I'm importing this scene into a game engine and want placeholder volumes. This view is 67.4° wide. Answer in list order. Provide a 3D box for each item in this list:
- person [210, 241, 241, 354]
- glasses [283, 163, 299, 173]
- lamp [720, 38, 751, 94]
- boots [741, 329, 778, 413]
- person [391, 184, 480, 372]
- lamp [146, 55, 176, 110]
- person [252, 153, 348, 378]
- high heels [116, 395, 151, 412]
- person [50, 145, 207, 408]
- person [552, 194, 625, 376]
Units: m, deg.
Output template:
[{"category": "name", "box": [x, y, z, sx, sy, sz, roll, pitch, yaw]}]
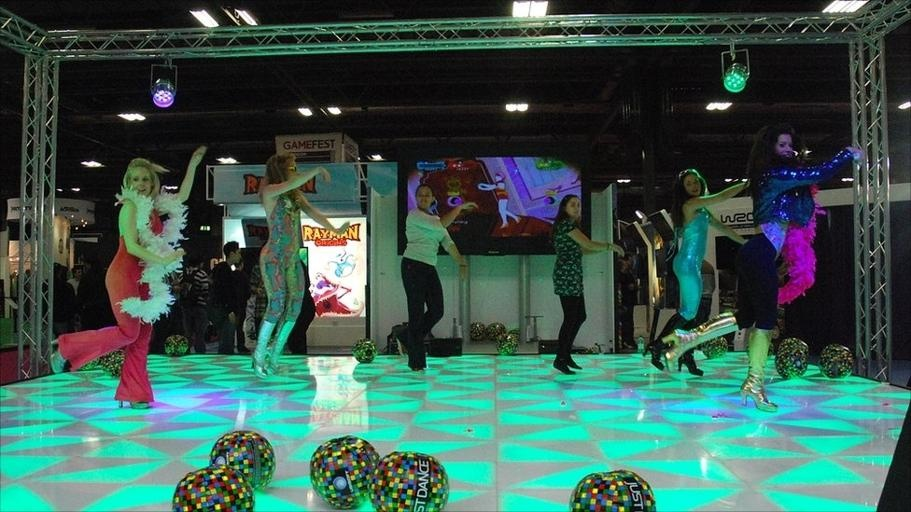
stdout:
[{"category": "person", "box": [-3.767, 0.677, 11.167, 0.446, 1.844, 1.073, 0, -3, -18]}, {"category": "glasses", "box": [-2.121, -1.107, 8.697, 0.152, 0.073, 0.152, 2, 5, 33]}, {"category": "lamp", "box": [4.174, -2.809, 10.107, 0.359, 0.859, 1.159, -2, -3, 23]}, {"category": "boots", "box": [3.318, 1.221, 7.422, 0.326, 0.845, 0.436, -2, -3, 23]}, {"category": "person", "box": [-0.309, 0.286, 8.900, 0.734, 2.414, 0.715, 1, -4, -31]}, {"category": "lamp", "box": [-4.298, -2.547, 10.027, 0.302, 0.679, 0.495, 0, -3, -18]}, {"category": "person", "box": [-2.096, 0.090, 8.587, 0.868, 2.810, 0.763, 0, -3, -14]}, {"category": "high heels", "box": [-3.568, 1.620, 7.477, 0.471, 0.169, 0.146, 0, 0, 0]}, {"category": "person", "box": [-3.583, 0.243, 7.564, 1.204, 2.819, 1.072, -3, -4, 37]}, {"category": "person", "box": [1.558, 0.359, 8.748, 0.616, 2.299, 0.365, -1, -3, 5]}]
